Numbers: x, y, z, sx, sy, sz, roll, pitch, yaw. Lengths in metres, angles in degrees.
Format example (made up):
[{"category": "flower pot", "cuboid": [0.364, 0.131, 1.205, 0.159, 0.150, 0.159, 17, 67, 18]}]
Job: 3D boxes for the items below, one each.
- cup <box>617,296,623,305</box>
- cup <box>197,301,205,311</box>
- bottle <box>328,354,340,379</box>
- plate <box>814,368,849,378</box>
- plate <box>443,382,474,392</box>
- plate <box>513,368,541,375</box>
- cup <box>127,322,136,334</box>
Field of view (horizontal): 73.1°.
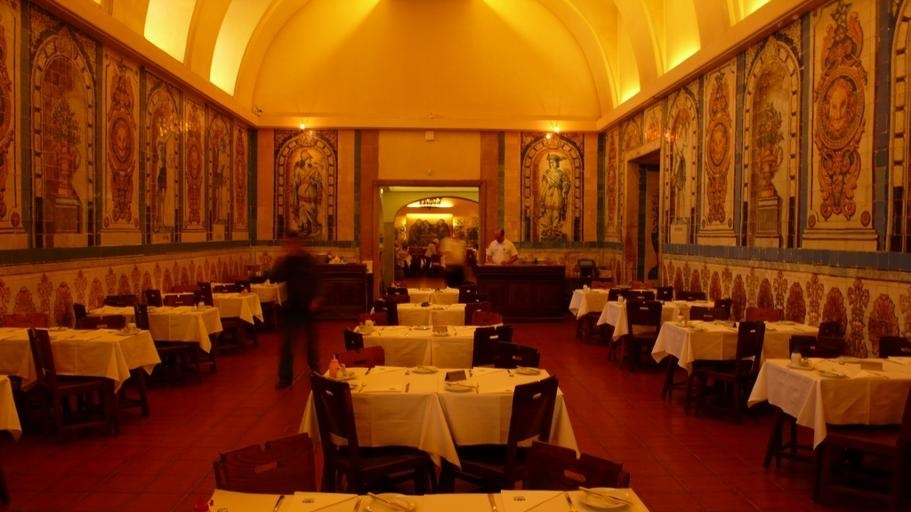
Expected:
[{"category": "cup", "cuboid": [3.930, 1.008, 14.575, 0.149, 0.158, 0.148, 2, -5, 0]}, {"category": "cup", "cuboid": [-5.456, 1.034, 13.103, 0.181, 0.190, 0.188, 0, 2, 0]}, {"category": "bottle", "cuboid": [-1.787, 1.622, 9.135, 0.218, 0.288, 0.406, -1, 2, -14]}, {"category": "plate", "cuboid": [5.748, 1.766, 9.363, 0.378, 0.055, 0.285, 0, 2, 14]}, {"category": "plate", "cuboid": [0.077, 1.858, 8.796, 0.446, 0.079, 0.248, 0, 2, 1]}, {"category": "plate", "cuboid": [1.093, 1.730, 9.362, 0.381, 0.087, 0.200, 0, 2, 4]}, {"category": "cup", "cuboid": [-5.909, 1.297, 11.257, 0.188, 0.176, 0.191, 1, -10, 0]}]
